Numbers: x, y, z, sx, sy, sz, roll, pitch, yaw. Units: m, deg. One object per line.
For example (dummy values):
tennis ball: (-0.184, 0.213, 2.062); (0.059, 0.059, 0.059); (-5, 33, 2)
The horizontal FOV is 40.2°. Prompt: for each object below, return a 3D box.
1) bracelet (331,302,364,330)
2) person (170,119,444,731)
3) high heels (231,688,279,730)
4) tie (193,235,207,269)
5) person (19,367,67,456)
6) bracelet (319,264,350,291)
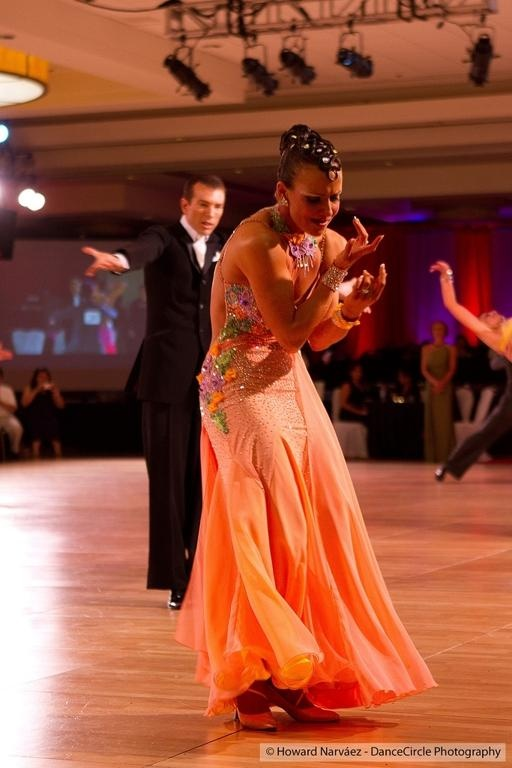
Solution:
bracelet: (0.193, -0.139, 1.483); (0.058, 0.045, 0.064); (6, 24, -26)
person: (0.101, 0.112, 1.432); (0.484, 1.215, 0.605); (1, -8, -7)
high heels: (-0.004, 0.658, 1.414); (0.045, 0.053, 0.136); (-6, -13, -14)
tie: (-0.222, -0.544, 2.880); (0.076, 0.121, 0.125); (0, 33, -3)
person: (-3.685, 0.534, 12.037); (0.693, 1.510, 0.962); (2, -8, -15)
bracelet: (0.138, -0.201, 1.302); (0.042, 0.049, 0.050); (29, 16, -5)
